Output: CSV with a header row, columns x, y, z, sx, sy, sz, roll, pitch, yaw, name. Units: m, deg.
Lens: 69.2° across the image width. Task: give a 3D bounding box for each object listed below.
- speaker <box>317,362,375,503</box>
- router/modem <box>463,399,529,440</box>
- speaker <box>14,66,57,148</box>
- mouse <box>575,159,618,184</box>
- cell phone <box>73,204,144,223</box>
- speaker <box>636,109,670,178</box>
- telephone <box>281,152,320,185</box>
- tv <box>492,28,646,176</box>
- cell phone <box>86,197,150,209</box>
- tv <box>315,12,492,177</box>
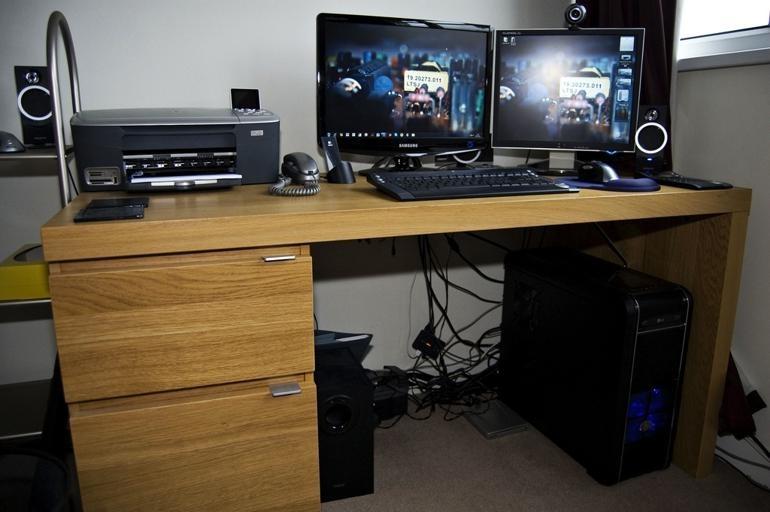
x,y,z,sx,sy,sz,roll,pitch,yaw,name
-0.143,0.659,2.075,0.256,0.417,0.291,2,14,-4,speaker
0.481,0.708,2.413,0.213,0.097,0.204,-3,20,-24,router/modem
-1.237,-0.535,2.082,0.146,0.349,0.201,-2,12,-27,speaker
0.771,-0.316,2.027,0.076,0.042,0.132,-5,23,-21,mouse
-0.753,-0.115,1.532,0.186,0.018,0.107,0,13,0,cell phone
1.042,-0.447,2.173,0.123,0.291,0.138,5,17,12,speaker
-0.280,-0.294,1.854,0.083,0.069,0.144,-7,22,-30,telephone
0.700,-0.641,2.159,0.559,0.471,0.072,-1,15,7,tv
-0.774,-0.154,1.624,0.206,0.020,0.119,2,8,2,cell phone
0.065,-0.630,2.134,0.717,0.506,0.183,-3,14,-13,tv
